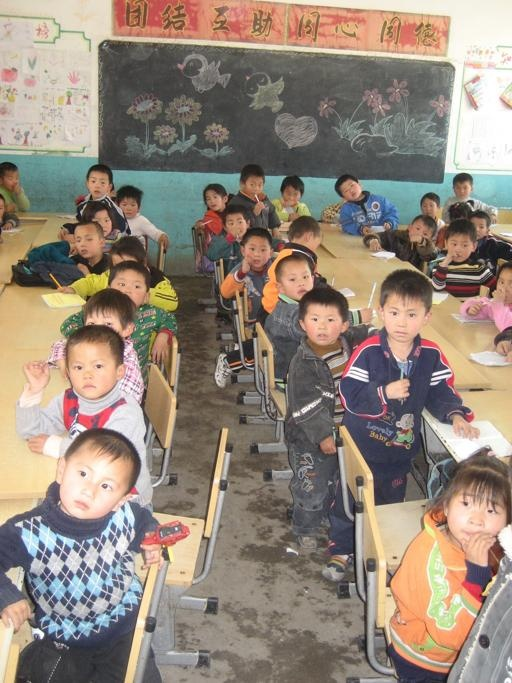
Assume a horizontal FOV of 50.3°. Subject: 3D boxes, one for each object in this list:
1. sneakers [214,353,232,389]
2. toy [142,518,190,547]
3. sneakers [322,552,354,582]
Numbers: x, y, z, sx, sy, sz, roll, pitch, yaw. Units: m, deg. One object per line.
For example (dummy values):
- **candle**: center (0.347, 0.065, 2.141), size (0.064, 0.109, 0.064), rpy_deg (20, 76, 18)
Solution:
- **sneakers**: center (-0.192, 0.176, 3.193), size (0.122, 0.242, 0.087), rpy_deg (4, 10, 18)
- **toy**: center (-0.177, 0.383, 1.098), size (0.094, 0.034, 0.041), rpy_deg (-12, 51, -17)
- **sneakers**: center (0.292, 0.808, 1.968), size (0.062, 0.066, 0.150), rpy_deg (29, -8, 15)
